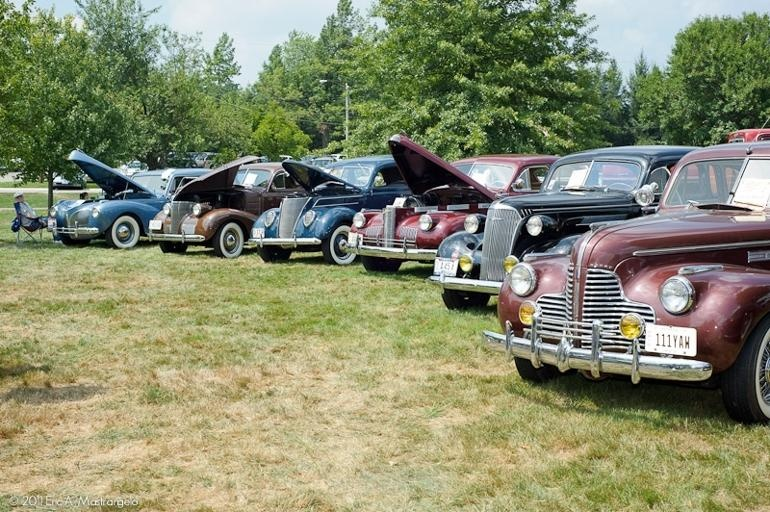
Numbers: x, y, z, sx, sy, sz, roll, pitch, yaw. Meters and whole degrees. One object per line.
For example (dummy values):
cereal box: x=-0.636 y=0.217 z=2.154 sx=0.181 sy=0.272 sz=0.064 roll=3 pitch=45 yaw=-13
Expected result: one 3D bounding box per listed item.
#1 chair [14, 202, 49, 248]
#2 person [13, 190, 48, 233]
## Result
chair: x=-10.013 y=-0.904 z=22.068 sx=1.006 sy=1.042 sz=0.956 roll=4 pitch=7 yaw=3
person: x=-9.915 y=-1.195 z=21.919 sx=0.903 sy=1.131 sz=0.881 roll=3 pitch=14 yaw=11
